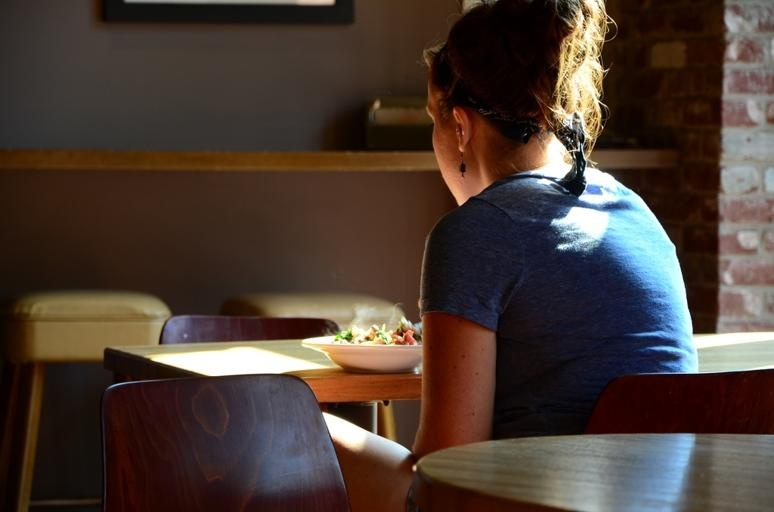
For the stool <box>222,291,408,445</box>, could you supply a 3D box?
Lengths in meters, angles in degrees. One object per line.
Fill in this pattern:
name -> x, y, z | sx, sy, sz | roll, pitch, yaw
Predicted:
stool -> -0.256, 0.422, 2.986 | 0.694, 0.861, 0.650 | 0, -3, -17
